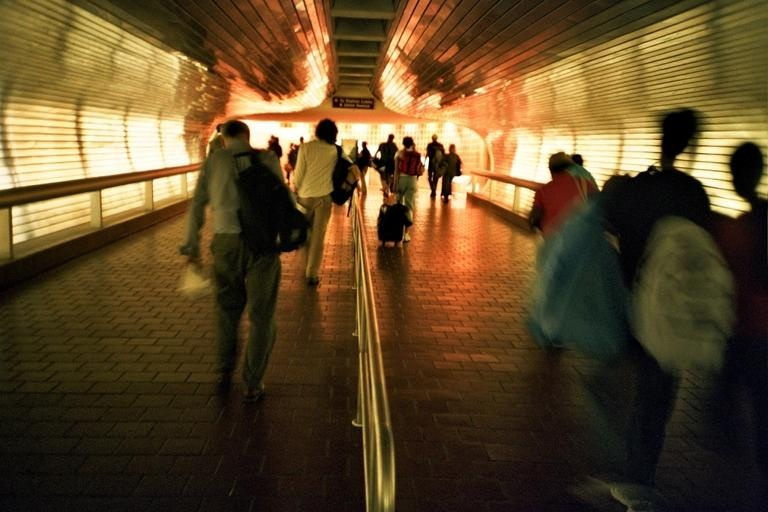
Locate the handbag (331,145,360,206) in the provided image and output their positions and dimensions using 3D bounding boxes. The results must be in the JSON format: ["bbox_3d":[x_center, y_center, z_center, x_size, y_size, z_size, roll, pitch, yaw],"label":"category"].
[{"bbox_3d":[-0.512,-1.065,6.473,0.356,0.798,0.365,3,15,-4],"label":"handbag"}]

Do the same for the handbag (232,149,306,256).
[{"bbox_3d":[-0.868,-0.394,3.635,0.566,0.754,0.242,4,15,-1],"label":"handbag"}]
